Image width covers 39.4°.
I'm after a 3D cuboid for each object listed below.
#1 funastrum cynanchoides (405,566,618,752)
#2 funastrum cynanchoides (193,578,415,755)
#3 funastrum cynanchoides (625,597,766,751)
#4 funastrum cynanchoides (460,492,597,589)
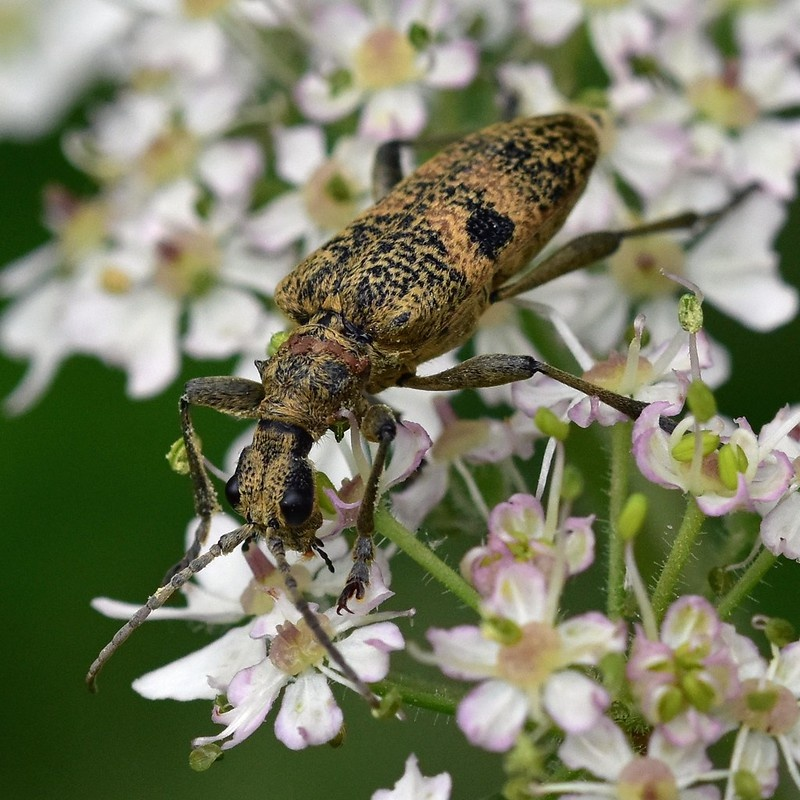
[{"bbox_3d":[0.230,0.511,2.161,0.331,0.220,0.360,44,85,11],"label":"funastrum cynanchoides"},{"bbox_3d":[-0.221,0.588,2.578,0.473,0.501,0.153,-18,100,12],"label":"funastrum cynanchoides"},{"bbox_3d":[0.542,0.520,2.181,0.294,0.111,0.255,-4,85,-25],"label":"funastrum cynanchoides"},{"bbox_3d":[0.281,0.302,2.479,0.258,0.105,0.215,-14,86,39],"label":"funastrum cynanchoides"}]
